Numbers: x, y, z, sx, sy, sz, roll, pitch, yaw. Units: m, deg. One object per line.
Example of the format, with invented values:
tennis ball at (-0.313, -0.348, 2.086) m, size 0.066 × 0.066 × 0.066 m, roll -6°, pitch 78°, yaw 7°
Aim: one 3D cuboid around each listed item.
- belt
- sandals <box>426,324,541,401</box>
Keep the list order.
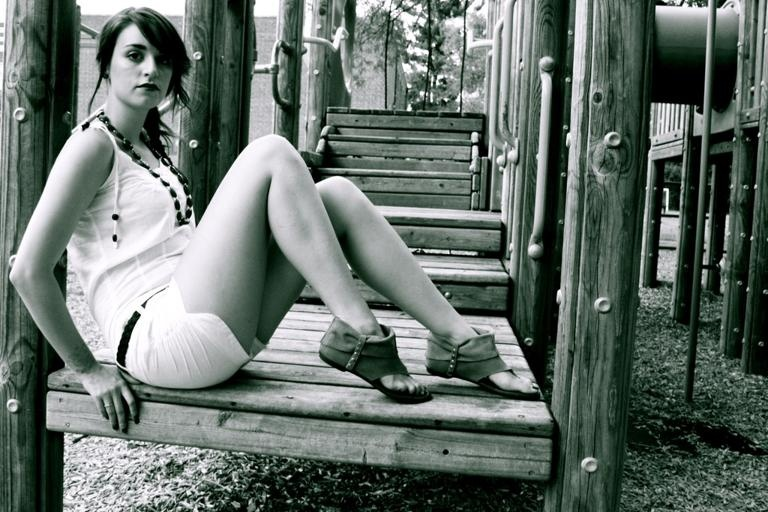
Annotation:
belt at (-0.955, 0.338, 3.099) m, size 0.084 × 0.315 × 0.218 m, roll 27°, pitch -10°, yaw 23°
sandals at (0.404, 0.439, 3.310) m, size 0.548 × 0.282 × 0.230 m, roll 10°, pitch 13°, yaw 8°
